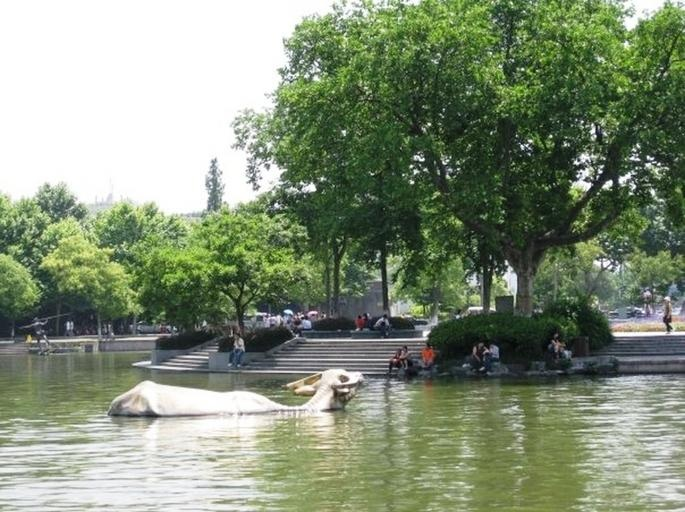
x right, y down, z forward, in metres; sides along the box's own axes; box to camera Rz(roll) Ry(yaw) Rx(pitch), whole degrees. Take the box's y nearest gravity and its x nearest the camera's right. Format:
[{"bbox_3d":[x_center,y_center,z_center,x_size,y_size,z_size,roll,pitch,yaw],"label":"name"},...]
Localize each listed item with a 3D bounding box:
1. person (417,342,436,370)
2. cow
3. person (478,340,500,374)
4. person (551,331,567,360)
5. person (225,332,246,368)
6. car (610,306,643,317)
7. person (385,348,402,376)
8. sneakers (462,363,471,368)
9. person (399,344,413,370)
[{"bbox_3d":[4.327,5.240,70.485,0.851,1.437,0.894,-6,-31,14],"label":"person"},{"bbox_3d":[-4.397,5.683,55.602,9.344,1.786,1.586,-1,-7,-11],"label":"cow"},{"bbox_3d":[7.277,5.158,68.384,0.770,0.582,1.337,14,29,5],"label":"person"},{"bbox_3d":[10.822,4.588,69.206,0.758,1.385,1.087,-5,-7,18],"label":"person"},{"bbox_3d":[-5.736,5.155,74.247,0.904,1.922,1.479,-2,-7,-5],"label":"person"},{"bbox_3d":[26.844,5.579,129.726,2.026,0.970,2.923,0,0,20],"label":"car"},{"bbox_3d":[2.658,5.477,69.904,0.742,1.280,1.544,-3,-7,2],"label":"person"},{"bbox_3d":[6.166,5.545,68.762,0.238,0.228,0.491,3,-10,-39],"label":"sneakers"},{"bbox_3d":[3.220,5.221,69.664,0.733,1.224,0.637,-5,-7,19],"label":"person"}]
